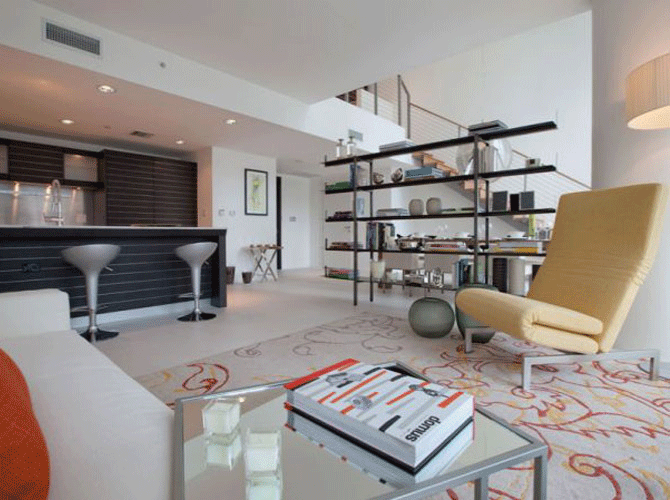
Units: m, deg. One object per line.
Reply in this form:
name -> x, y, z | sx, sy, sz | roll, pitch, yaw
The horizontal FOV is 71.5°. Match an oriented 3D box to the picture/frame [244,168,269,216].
picture/frame -> -1.502, -1.094, 8.952 | 0.152, 0.880, 0.653 | 5, 10, 32

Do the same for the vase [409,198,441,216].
vase -> 1.052, -0.507, 5.491 | 0.331, 0.203, 0.575 | 0, 8, 0

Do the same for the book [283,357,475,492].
book -> 0.226, 0.701, 1.991 | 0.587, 0.130, 0.422 | 10, 14, 43

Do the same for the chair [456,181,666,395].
chair -> 1.776, 0.152, 4.206 | 1.632, 1.902, 1.315 | -1, 3, -17

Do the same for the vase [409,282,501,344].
vase -> 1.013, 0.612, 4.319 | 0.625, 0.236, 0.586 | -1, 2, -33
